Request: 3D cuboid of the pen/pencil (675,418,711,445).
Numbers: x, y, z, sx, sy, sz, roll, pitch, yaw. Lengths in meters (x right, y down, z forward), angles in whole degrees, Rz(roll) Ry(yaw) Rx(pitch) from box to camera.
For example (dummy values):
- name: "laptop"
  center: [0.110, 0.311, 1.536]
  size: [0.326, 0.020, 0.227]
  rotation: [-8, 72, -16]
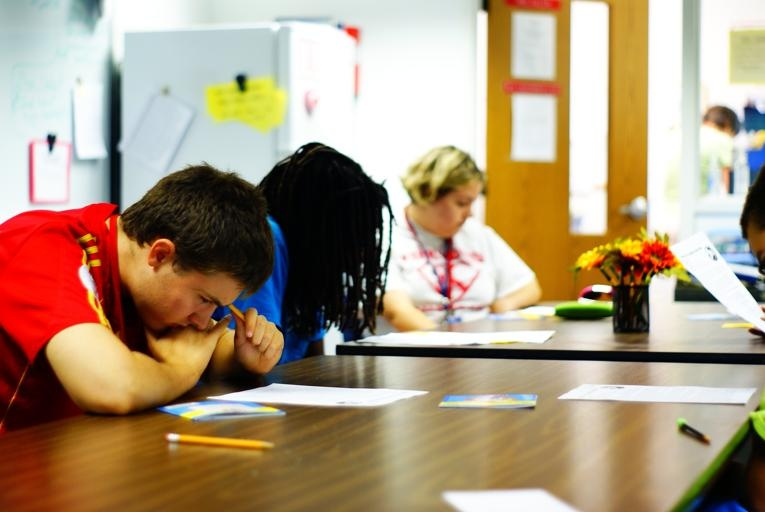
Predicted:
- name: "pen/pencil"
  center: [0.476, 0.271, 1.068]
  size: [0.015, 0.015, 0.047]
  rotation: [7, 17, -43]

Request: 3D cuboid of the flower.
- name: "flower"
  center: [0.751, 0.090, 2.161]
  size: [0.315, 0.295, 0.314]
  rotation: [0, -7, -6]

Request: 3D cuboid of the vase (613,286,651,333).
- name: "vase"
  center: [0.740, 0.158, 2.102]
  size: [0.113, 0.144, 0.114]
  rotation: [1, -8, 4]

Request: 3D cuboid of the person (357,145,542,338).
- name: "person"
  center: [0.257, -0.058, 2.894]
  size: [0.880, 0.752, 0.524]
  rotation: [-1, 18, -27]

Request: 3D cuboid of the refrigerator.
- name: "refrigerator"
  center: [-0.738, -0.414, 2.992]
  size: [0.683, 0.966, 0.496]
  rotation: [3, -15, -5]
